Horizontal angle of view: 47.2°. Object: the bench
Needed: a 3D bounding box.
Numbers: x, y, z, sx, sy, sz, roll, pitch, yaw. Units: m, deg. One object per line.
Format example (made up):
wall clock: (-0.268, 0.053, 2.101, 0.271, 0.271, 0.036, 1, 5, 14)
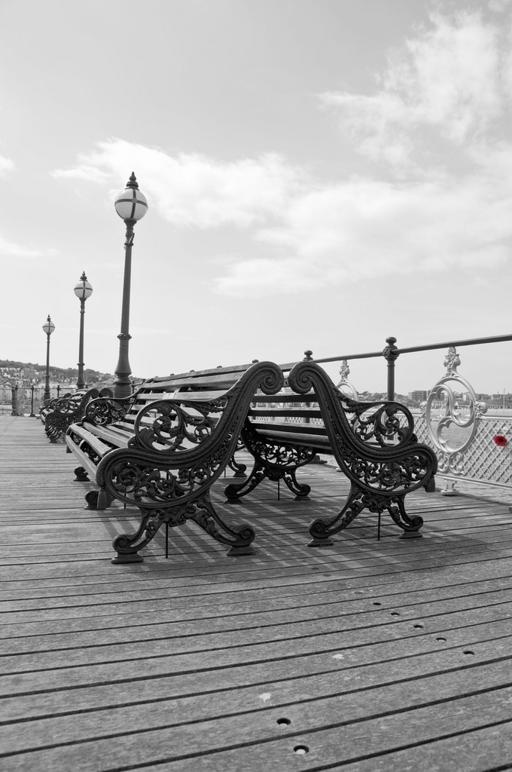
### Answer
bench: (-0.183, 0.328, 3.305, 1.518, 0.827, 2.014, 1, -2, -20)
